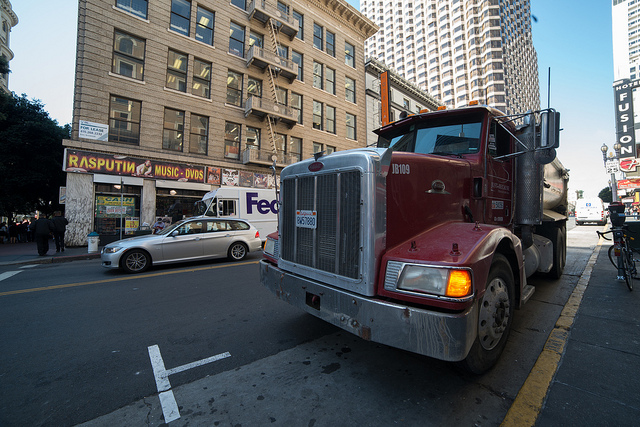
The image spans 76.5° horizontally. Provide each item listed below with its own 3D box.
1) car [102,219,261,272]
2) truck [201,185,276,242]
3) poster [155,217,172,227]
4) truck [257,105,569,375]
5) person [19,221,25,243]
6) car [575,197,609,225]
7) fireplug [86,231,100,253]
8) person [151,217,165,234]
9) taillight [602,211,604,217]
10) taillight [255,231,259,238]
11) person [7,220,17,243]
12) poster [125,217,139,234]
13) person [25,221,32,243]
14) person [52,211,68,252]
[{"bbox_3d":[-5.092,1.157,15.074,4.571,1.572,2.031,2,-5,-32],"label":"car"},{"bbox_3d":[-4.106,-0.318,20.644,4.024,2.731,2.770,3,-7,-29],"label":"truck"},{"bbox_3d":[-8.781,0.404,22.818,0.524,0.785,0.715,7,6,19],"label":"poster"},{"bbox_3d":[2.186,0.402,8.991,6.224,5.747,2.935,-3,2,-22],"label":"truck"},{"bbox_3d":[-20.176,1.296,27.374,0.278,1.249,0.865,-3,2,-37],"label":"person"},{"bbox_3d":[22.383,-0.102,33.375,2.228,2.526,4.200,0,3,45],"label":"car"},{"bbox_3d":[-10.540,1.344,18.718,0.389,0.745,0.808,-3,2,-30],"label":"fireplug"},{"bbox_3d":[-8.536,0.635,21.210,0.598,0.996,0.938,4,-8,-26],"label":"person"},{"bbox_3d":[23.284,0.043,33.273,0.115,0.463,0.390,-1,2,30],"label":"taillight"},{"bbox_3d":[-2.501,0.831,16.003,0.037,0.176,0.466,12,-35,-13],"label":"taillight"},{"bbox_3d":[-20.488,1.275,26.961,0.414,1.322,1.533,-3,2,-37],"label":"person"},{"bbox_3d":[-10.324,0.662,22.101,0.115,1.109,0.836,-22,-18,38],"label":"poster"},{"bbox_3d":[-20.506,1.264,28.436,0.362,1.312,2.756,-3,2,-35],"label":"person"},{"bbox_3d":[-12.234,0.844,19.057,0.594,1.619,1.077,-3,2,-34],"label":"person"}]
